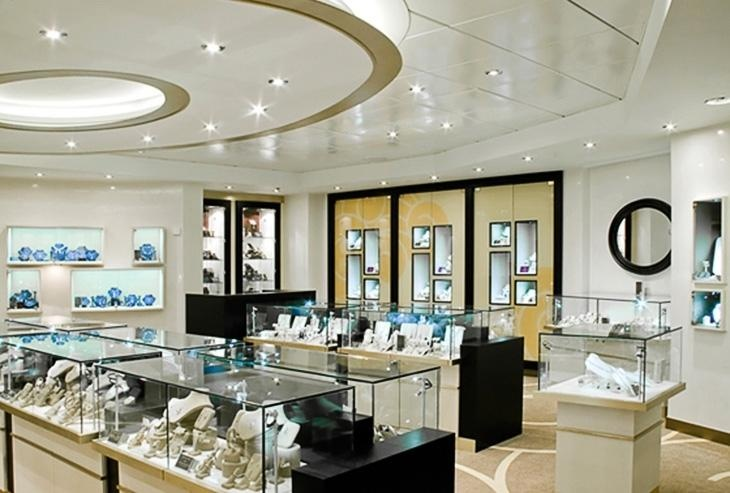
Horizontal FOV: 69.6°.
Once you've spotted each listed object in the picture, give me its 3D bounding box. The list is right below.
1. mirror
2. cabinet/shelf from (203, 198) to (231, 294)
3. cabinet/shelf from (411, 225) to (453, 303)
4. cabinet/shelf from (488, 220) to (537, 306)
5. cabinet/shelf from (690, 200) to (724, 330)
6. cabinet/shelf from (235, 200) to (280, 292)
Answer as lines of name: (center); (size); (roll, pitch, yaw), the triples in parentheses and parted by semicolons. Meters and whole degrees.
mirror: (4.372, -0.157, 8.313); (0.104, 1.287, 1.278); (3, -2, -35)
cabinet/shelf: (-3.331, 0.104, 11.523); (0.248, 2.132, 0.843); (-6, -5, 35)
cabinet/shelf: (1.398, 0.363, 10.736); (0.992, 1.578, 0.269); (1, 4, 41)
cabinet/shelf: (2.742, 0.326, 9.702); (0.825, 1.514, 0.455); (1, 12, 20)
cabinet/shelf: (4.282, 0.216, 6.566); (0.189, 1.610, 0.366); (-4, 4, -43)
cabinet/shelf: (-2.391, 0.125, 12.175); (0.924, 2.302, 0.259); (-5, -27, -4)
